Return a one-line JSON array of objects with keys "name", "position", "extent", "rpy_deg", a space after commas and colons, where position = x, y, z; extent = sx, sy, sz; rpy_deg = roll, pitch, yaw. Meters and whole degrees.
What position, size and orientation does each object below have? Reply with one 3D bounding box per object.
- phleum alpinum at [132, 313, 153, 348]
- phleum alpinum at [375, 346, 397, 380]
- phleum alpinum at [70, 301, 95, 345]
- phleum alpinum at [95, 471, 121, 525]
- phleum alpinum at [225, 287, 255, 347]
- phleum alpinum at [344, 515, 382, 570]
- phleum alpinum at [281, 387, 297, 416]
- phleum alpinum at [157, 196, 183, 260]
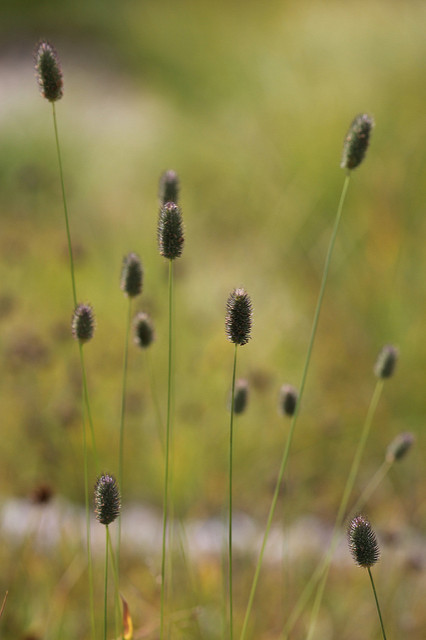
[{"name": "phleum alpinum", "position": [-0.087, 0.013, 1.133], "extent": [0.023, 0.015, 0.042], "rpy_deg": [-2, -93, -33]}, {"name": "phleum alpinum", "position": [0.203, 0.049, 1.062], "extent": [0.041, 0.016, 0.024], "rpy_deg": [-63, -24, 0]}, {"name": "phleum alpinum", "position": [-0.152, 0.003, 1.070], "extent": [0.027, 0.041, 0.032], "rpy_deg": [3, -53, -10]}, {"name": "phleum alpinum", "position": [-0.117, 0.194, 1.005], "extent": [0.027, 0.053, 0.038], "rpy_deg": [2, -53, -9]}, {"name": "phleum alpinum", "position": [0.031, -0.003, 1.048], "extent": [0.032, 0.051, 0.058], "rpy_deg": [-1, -54, -7]}, {"name": "phleum alpinum", "position": [0.164, 0.242, 0.998], "extent": [0.029, 0.054, 0.039], "rpy_deg": [-17, -52, 7]}, {"name": "phleum alpinum", "position": [0.091, 0.096, 1.092], "extent": [0.014, 0.038, 0.011], "rpy_deg": [-7, -21, 24]}, {"name": "phleum alpinum", "position": [-0.050, -0.106, 1.066], "extent": [0.030, 0.056, 0.053], "rpy_deg": [-4, -53, -4]}]
